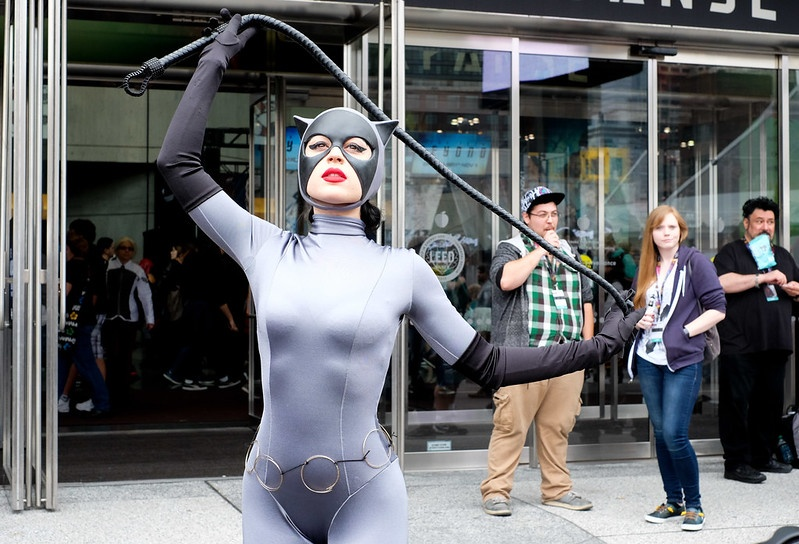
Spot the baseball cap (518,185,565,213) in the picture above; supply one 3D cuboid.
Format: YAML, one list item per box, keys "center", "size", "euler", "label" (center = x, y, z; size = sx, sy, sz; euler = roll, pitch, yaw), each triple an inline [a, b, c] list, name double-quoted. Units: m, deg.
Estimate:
- center: [1.142, -0.614, 7.747]
  size: [0.332, 0.168, 0.244]
  euler: [-26, -10, 28]
  label: "baseball cap"

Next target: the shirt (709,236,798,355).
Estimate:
- center: [3.137, 0.229, 8.331]
  size: [0.940, 1.180, 0.650]
  euler: [2, -12, -7]
  label: "shirt"

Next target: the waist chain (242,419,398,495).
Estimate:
- center: [-0.411, 0.987, 4.926]
  size: [0.751, 0.323, 0.106]
  euler: [0, 5, -3]
  label: "waist chain"

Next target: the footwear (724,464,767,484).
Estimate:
- center: [3.090, 1.782, 8.388]
  size: [0.334, 0.152, 0.147]
  euler: [-3, -3, 32]
  label: "footwear"

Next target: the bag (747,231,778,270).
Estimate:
- center: [3.247, -0.186, 8.396]
  size: [0.228, 0.303, 0.090]
  euler: [-17, -10, 0]
  label: "bag"

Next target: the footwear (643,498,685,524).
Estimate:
- center: [2.112, 1.893, 7.449]
  size: [0.345, 0.137, 0.131]
  euler: [-1, -9, -11]
  label: "footwear"

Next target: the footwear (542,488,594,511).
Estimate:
- center: [1.384, 1.850, 7.710]
  size: [0.370, 0.149, 0.151]
  euler: [1, -5, 10]
  label: "footwear"
